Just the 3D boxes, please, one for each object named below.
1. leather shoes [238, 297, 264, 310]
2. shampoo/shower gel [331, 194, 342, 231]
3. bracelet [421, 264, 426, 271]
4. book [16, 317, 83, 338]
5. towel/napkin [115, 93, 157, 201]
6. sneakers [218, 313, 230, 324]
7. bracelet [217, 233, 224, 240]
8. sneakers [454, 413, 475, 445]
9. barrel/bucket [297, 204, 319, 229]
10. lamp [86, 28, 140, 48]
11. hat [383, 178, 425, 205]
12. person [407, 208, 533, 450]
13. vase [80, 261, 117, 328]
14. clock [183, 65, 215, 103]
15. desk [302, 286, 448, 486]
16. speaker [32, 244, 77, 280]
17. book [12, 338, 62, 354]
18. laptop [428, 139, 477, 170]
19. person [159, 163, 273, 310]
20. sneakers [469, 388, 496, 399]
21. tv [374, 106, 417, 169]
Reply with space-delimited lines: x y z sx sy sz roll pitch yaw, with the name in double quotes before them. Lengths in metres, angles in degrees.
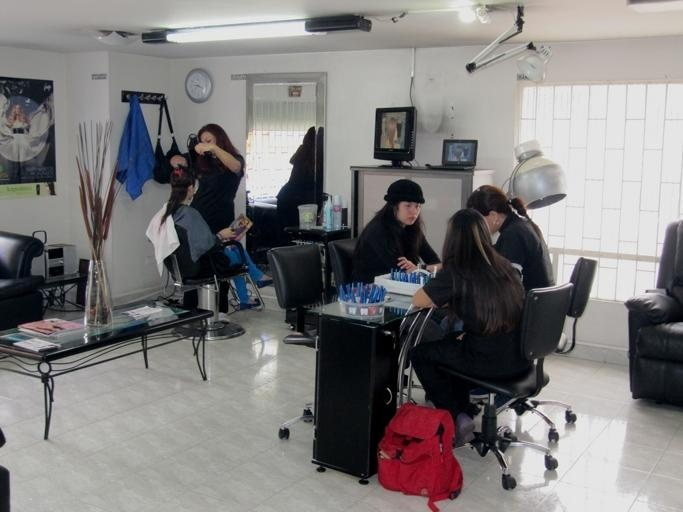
"leather shoes" -1.067 0.573 6.112 0.329 0.135 0.119 -4 7 -17
"shampoo/shower gel" -0.053 -0.467 5.580 0.097 0.352 0.106 -1 11 -7
"bracelet" 0.614 0.082 3.898 0.026 0.035 0.012 6 -6 -9
"book" -1.984 0.479 3.571 0.385 0.034 0.313 5 12 21
"towel/napkin" -2.418 -1.259 6.057 0.448 1.198 0.225 -6 13 -33
"sneakers" -1.281 0.671 5.656 0.113 0.043 0.115 11 12 -38
"bracelet" -1.249 -0.204 5.330 0.056 0.092 0.090 1 -2 2
"sneakers" 0.725 1.024 3.063 0.136 0.165 0.058 3 1 -2
"barrel/bucket" -0.370 -0.435 5.690 0.240 0.262 0.236 0 9 0
"lamp" -2.098 -2.054 4.871 0.398 0.091 0.231 -2 11 -13
"hat" 0.473 -0.470 3.849 0.207 0.131 0.208 0 2 -12
"person" 0.766 0.420 3.063 0.705 1.373 0.326 2 11 8
"vase" -1.711 0.250 3.627 0.188 0.477 0.171 -5 12 -27
"clock" -1.752 -2.086 6.357 0.381 0.395 0.118 19 15 27
"desk" 0.303 0.728 3.751 0.830 1.667 0.909 10 10 37
"speaker" -3.199 0.078 5.824 0.299 0.386 0.556 4 6 25
"book" -1.913 0.554 3.248 0.298 0.019 0.145 6 12 24
"laptop" 1.086 -0.921 4.873 0.376 0.289 0.316 4 4 28
"person" -1.332 -0.108 5.427 0.534 1.609 1.002 7 12 28
"sneakers" 0.873 0.872 3.274 0.120 0.045 0.101 1 4 26
"tv" 0.524 -1.213 5.160 0.465 0.505 0.101 10 14 40
